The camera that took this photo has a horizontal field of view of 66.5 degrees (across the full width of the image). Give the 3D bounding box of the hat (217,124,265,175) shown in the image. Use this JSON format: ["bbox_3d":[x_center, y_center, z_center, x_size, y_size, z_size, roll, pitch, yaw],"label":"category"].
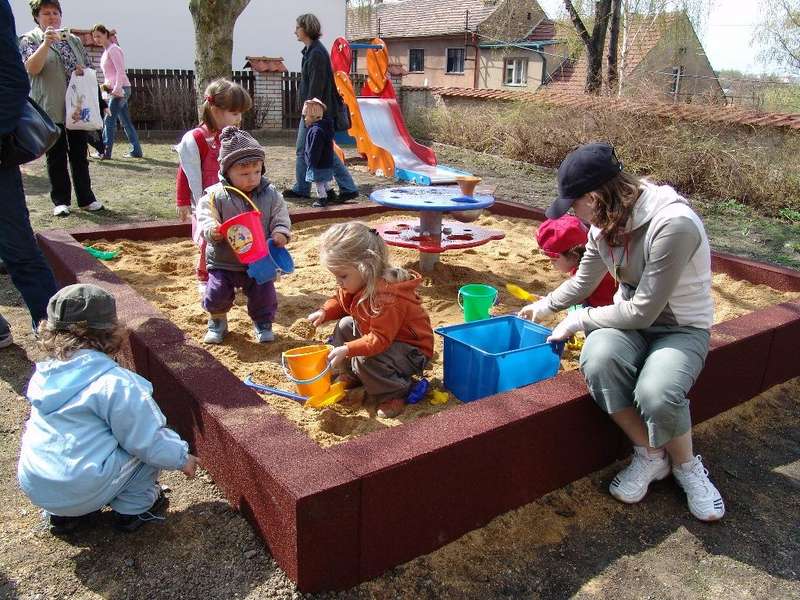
[{"bbox_3d":[-0.974,-0.905,3.746,0.273,0.276,0.289,1,19,11],"label":"hat"}]

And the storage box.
[{"bbox_3d":[0.567,0.300,3.393,0.620,0.379,0.480,-12,21,-25],"label":"storage box"}]

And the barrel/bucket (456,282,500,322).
[{"bbox_3d":[0.523,0.000,4.082,0.272,0.225,0.256,1,10,0],"label":"barrel/bucket"}]

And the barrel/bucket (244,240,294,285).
[{"bbox_3d":[-0.801,-0.200,3.865,0.230,0.237,0.281,-25,5,39],"label":"barrel/bucket"}]

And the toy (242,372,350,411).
[{"bbox_3d":[-0.545,0.508,3.289,0.483,0.110,0.202,11,-12,7],"label":"toy"}]

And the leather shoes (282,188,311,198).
[{"bbox_3d":[-1.259,-1.317,7.529,0.328,0.133,0.115,-4,34,-13],"label":"leather shoes"}]

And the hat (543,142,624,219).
[{"bbox_3d":[0.848,-0.540,2.804,0.365,0.319,0.190,-3,19,-1],"label":"hat"}]

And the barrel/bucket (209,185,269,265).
[{"bbox_3d":[-0.938,-0.411,3.647,0.301,0.484,0.353,-8,20,-15],"label":"barrel/bucket"}]

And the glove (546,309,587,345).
[{"bbox_3d":[0.860,0.138,3.137,0.194,0.064,0.150,-37,3,37],"label":"glove"}]

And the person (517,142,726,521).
[{"bbox_3d":[1.134,0.125,2.910,0.957,1.671,0.618,13,25,37],"label":"person"}]

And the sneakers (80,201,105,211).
[{"bbox_3d":[-3.220,-0.972,6.457,0.206,0.084,0.086,-5,6,8],"label":"sneakers"}]

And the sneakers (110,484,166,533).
[{"bbox_3d":[-1.087,0.902,2.689,0.096,0.113,0.290,35,40,26],"label":"sneakers"}]

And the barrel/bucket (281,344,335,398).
[{"bbox_3d":[-0.506,0.376,3.263,0.263,0.198,0.269,0,13,0],"label":"barrel/bucket"}]

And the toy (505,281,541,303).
[{"bbox_3d":[0.904,-0.046,4.482,0.089,0.092,0.350,17,8,-27],"label":"toy"}]

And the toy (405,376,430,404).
[{"bbox_3d":[0.101,0.506,3.436,0.153,0.091,0.058,-50,12,-19],"label":"toy"}]

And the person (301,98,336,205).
[{"bbox_3d":[-0.910,-1.666,6.970,0.353,1.157,0.671,-5,19,-6],"label":"person"}]

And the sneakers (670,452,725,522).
[{"bbox_3d":[1.394,0.885,2.851,0.141,0.154,0.359,-23,18,2],"label":"sneakers"}]

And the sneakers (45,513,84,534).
[{"bbox_3d":[-1.413,0.941,2.575,0.178,0.078,0.063,4,22,0],"label":"sneakers"}]

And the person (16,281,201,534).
[{"bbox_3d":[-1.236,0.466,2.539,0.666,0.998,0.449,-10,21,-20],"label":"person"}]
